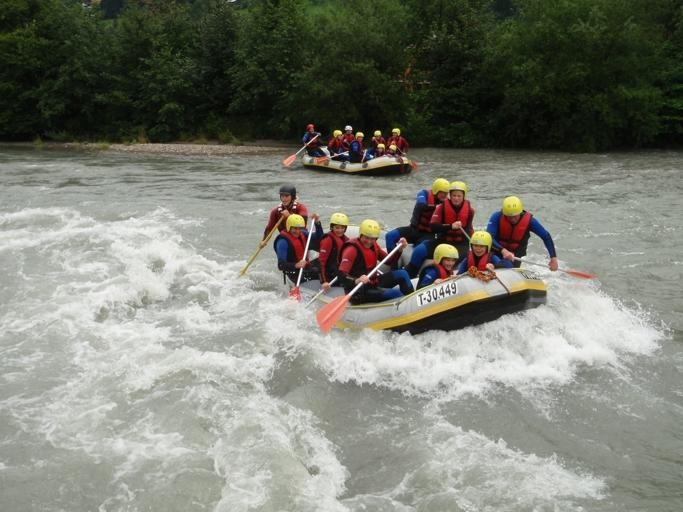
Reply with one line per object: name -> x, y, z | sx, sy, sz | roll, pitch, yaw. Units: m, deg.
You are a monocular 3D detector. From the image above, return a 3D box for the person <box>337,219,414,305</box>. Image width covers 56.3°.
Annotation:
person -> 0.493, 0.215, 9.368 | 1.213, 1.438, 0.935 | -11, 16, -7

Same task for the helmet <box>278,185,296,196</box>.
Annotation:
helmet -> -0.926, -1.128, 11.017 | 0.263, 0.209, 0.365 | 0, 16, -7

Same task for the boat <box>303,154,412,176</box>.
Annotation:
boat -> 0.580, -3.158, 22.328 | 2.771, 0.526, 1.420 | 6, 10, 37

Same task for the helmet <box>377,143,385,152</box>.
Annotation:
helmet -> 1.383, -3.782, 22.348 | 0.247, 0.242, 0.316 | 4, -20, -2

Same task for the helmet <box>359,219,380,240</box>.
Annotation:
helmet -> 0.423, -0.365, 9.257 | 0.254, 0.295, 0.260 | 10, 47, -6

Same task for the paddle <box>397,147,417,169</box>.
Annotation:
paddle -> 2.230, -3.493, 22.446 | 0.682, 0.245, 1.052 | 19, 17, -39

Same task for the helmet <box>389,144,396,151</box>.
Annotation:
helmet -> 1.792, -3.776, 22.292 | 0.187, 0.182, 0.247 | 24, -4, -10

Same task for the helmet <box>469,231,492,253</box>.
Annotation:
helmet -> 1.939, -0.204, 8.957 | 0.245, 0.258, 0.313 | 7, 25, 17

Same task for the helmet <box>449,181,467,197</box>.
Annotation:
helmet -> 1.871, -1.119, 10.224 | 0.305, 0.326, 0.379 | 1, -6, 11

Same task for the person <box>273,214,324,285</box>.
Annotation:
person -> -0.613, -0.055, 10.086 | 0.930, 1.176, 0.820 | -10, 13, -6

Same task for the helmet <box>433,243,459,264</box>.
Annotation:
helmet -> 1.511, -0.033, 9.134 | 0.326, 0.240, 0.241 | 4, 3, 42

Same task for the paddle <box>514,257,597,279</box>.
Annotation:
paddle -> 3.638, 0.217, 10.820 | 1.075, 0.103, 0.047 | 21, -14, -16

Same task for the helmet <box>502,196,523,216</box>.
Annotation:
helmet -> 2.646, -0.754, 9.882 | 0.287, 0.306, 0.341 | -11, 18, 17

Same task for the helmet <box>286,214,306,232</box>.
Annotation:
helmet -> -0.717, -0.532, 10.001 | 0.220, 0.216, 0.288 | -5, 14, -24

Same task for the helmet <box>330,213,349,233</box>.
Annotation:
helmet -> -0.034, -0.502, 9.535 | 0.292, 0.293, 0.344 | 6, 5, -3
